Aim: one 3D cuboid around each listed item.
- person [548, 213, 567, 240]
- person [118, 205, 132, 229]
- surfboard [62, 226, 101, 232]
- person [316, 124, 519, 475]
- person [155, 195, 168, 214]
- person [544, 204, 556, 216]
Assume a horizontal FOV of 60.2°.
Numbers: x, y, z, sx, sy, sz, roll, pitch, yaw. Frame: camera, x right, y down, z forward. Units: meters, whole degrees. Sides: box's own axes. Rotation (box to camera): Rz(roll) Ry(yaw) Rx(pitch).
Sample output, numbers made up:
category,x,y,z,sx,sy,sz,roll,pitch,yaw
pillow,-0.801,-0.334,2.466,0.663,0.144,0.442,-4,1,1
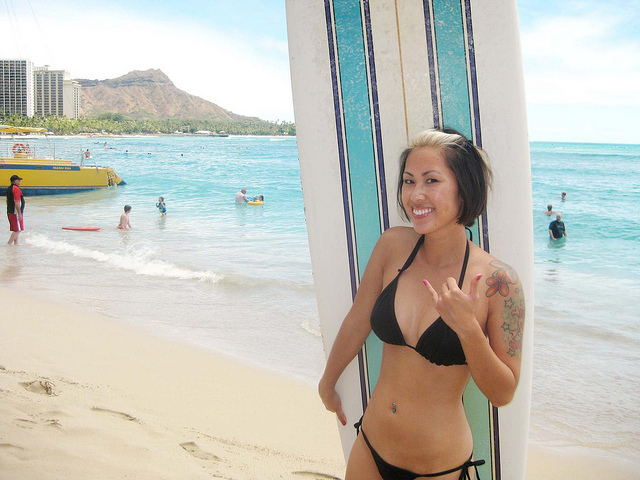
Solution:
category,x,y,z,sx,sy,sz,roll,pitch,yaw
person,6.323,-0.361,14.563,0.397,0.626,0.741,11,16,31
person,-5.570,-0.659,15.615,0.352,0.817,1.542,-3,14,-20
surfboard,-6.645,-0.315,15.336,1.016,0.126,0.314,1,7,-7
person,0.559,0.373,2.955,0.998,1.891,0.614,4,14,4
person,-5.740,-1.268,19.847,0.452,0.518,1.187,-11,-13,-19
person,7.094,-0.920,16.943,0.287,0.363,0.994,8,14,20
